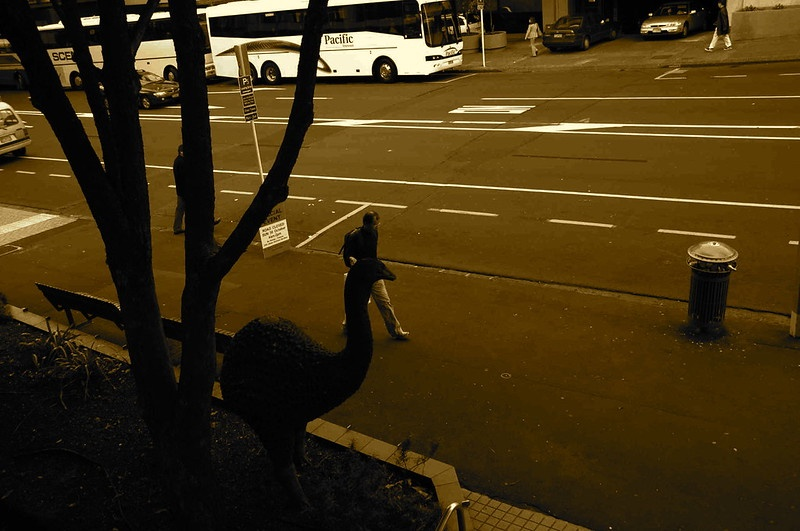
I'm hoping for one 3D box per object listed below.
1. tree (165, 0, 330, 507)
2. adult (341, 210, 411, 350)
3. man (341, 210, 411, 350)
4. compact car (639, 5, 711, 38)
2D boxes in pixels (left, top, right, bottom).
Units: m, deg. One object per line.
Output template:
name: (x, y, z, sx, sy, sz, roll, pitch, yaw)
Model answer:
tree: (-1.939, -0.101, 7.307, 2.083, 5.605, 0.984, -14, 22, -24)
adult: (-0.363, 0.324, 10.505, 1.191, 2.430, 1.196, 7, 47, 15)
man: (-0.363, 0.324, 10.505, 1.191, 2.430, 1.196, 7, 47, 15)
compact car: (15.989, -14.249, 36.177, 4.162, 1.850, 2.007, -21, 26, -35)
